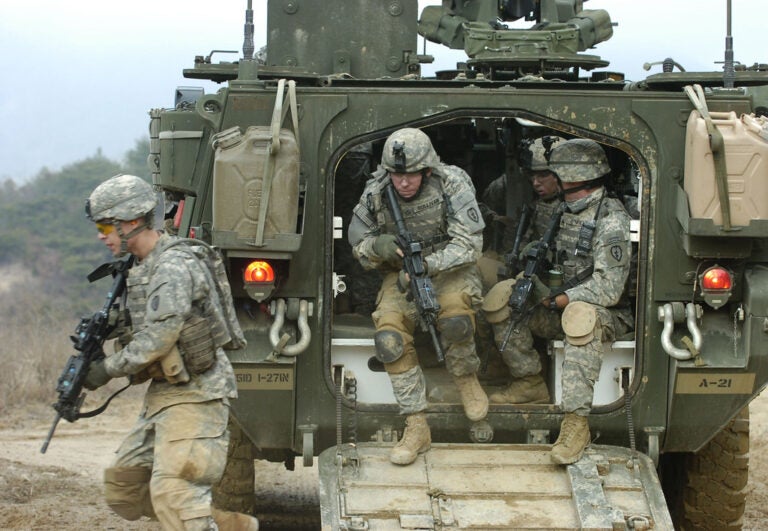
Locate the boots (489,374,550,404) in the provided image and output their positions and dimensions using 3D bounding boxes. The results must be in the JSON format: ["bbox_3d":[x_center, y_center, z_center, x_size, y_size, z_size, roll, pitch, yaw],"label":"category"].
[{"bbox_3d":[1.018,0.891,7.769,0.470,0.258,0.185,1,-1,0],"label":"boots"}]

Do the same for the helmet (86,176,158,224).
[{"bbox_3d":[-1.647,-0.431,6.688,0.457,0.300,0.348,-13,4,-16],"label":"helmet"}]

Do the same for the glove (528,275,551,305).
[{"bbox_3d":[1.141,0.173,7.683,0.199,0.152,0.079,38,-8,1],"label":"glove"}]

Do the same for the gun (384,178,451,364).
[{"bbox_3d":[0.230,-0.010,7.274,0.155,1.219,0.436,-10,-10,-18],"label":"gun"}]

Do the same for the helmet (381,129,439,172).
[{"bbox_3d":[0.188,-0.825,7.324,0.432,0.295,0.451,-4,18,4],"label":"helmet"}]

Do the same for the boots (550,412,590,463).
[{"bbox_3d":[1.245,1.139,7.023,0.182,0.305,0.363,2,7,26],"label":"boots"}]

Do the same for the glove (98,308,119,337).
[{"bbox_3d":[-1.749,0.349,6.765,0.058,0.167,0.113,15,8,3],"label":"glove"}]

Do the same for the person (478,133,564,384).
[{"bbox_3d":[1.066,-0.011,8.032,0.396,1.868,0.632,18,-15,4],"label":"person"}]

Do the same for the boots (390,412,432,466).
[{"bbox_3d":[0.115,1.155,7.052,0.149,0.315,0.437,0,3,31],"label":"boots"}]

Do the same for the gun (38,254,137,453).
[{"bbox_3d":[-3.076,0.916,10.846,0.722,2.092,0.473,6,-24,23],"label":"gun"}]

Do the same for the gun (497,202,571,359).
[{"bbox_3d":[1.128,0.137,7.782,0.147,1.159,0.419,18,-10,18],"label":"gun"}]

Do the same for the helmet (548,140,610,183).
[{"bbox_3d":[1.413,-0.751,7.582,0.321,0.209,0.330,-4,11,-17],"label":"helmet"}]

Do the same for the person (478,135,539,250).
[{"bbox_3d":[1.040,-0.585,8.751,0.388,0.925,0.315,2,-5,10],"label":"person"}]

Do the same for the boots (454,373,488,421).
[{"bbox_3d":[0.609,0.900,7.261,0.127,0.403,0.161,-19,-37,8],"label":"boots"}]
